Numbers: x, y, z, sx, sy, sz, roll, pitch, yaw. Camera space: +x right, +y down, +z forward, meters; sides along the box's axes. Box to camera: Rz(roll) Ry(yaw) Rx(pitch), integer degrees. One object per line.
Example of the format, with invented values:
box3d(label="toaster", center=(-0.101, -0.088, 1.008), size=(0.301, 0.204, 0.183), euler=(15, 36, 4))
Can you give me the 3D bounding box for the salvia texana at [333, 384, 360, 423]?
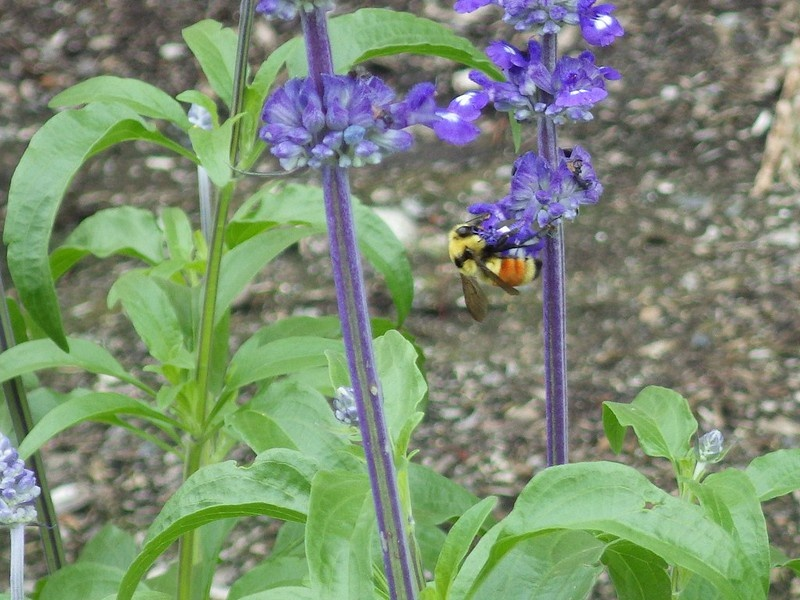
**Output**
box3d(label="salvia texana", center=(-0.172, 0.339, 4.294), size=(0.072, 0.132, 0.079), euler=(-1, 3, 1))
